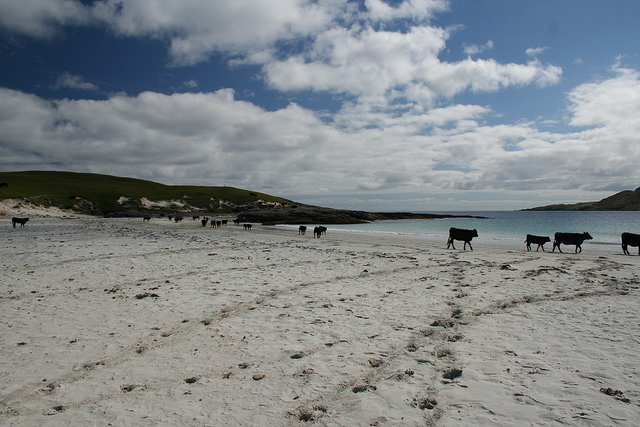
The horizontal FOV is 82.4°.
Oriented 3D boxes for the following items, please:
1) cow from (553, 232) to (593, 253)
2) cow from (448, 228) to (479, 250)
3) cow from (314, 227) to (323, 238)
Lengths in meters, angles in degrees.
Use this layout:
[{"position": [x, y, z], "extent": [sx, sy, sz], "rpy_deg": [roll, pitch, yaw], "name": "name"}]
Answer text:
[{"position": [21.483, 2.493, 31.459], "extent": [2.263, 1.866, 3.178], "rpy_deg": [7, 10, 34], "name": "cow"}, {"position": [12.731, 2.208, 32.679], "extent": [2.180, 1.701, 3.349], "rpy_deg": [5, 8, 20], "name": "cow"}, {"position": [-0.259, 2.208, 42.469], "extent": [0.804, 1.024, 1.003], "rpy_deg": [1, 9, -1], "name": "cow"}]
